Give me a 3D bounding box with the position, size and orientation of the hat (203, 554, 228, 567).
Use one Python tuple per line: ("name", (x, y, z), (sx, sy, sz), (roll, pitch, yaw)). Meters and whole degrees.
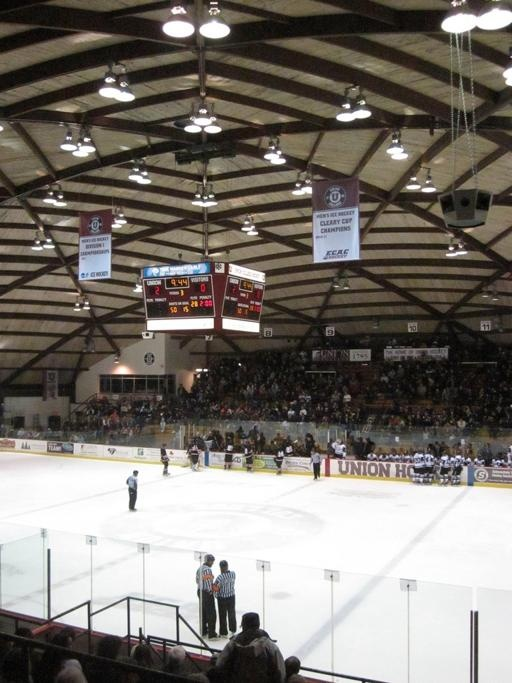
("hat", (-0.641, 3.469, 9.905), (0.393, 0.161, 0.209), (6, 2, 15))
